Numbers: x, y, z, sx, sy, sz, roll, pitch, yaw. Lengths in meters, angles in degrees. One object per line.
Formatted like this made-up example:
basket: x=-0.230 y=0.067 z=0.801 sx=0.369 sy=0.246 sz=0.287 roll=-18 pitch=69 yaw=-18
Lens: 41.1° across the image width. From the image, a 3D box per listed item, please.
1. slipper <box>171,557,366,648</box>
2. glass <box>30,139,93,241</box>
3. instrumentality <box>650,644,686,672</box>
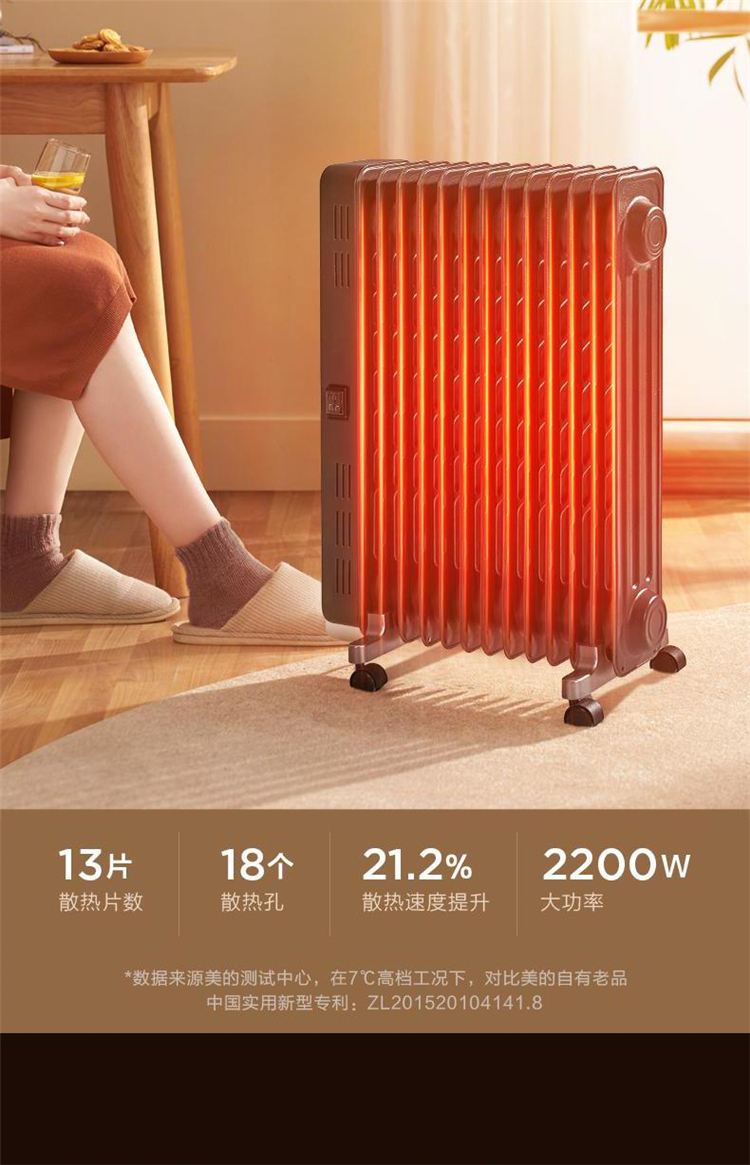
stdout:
slipper: x=-0.154 y=0.021 z=1.337 sx=0.204 sy=0.091 sz=0.112 roll=0 pitch=6 yaw=0
glass: x=-0.378 y=-0.492 z=1.242 sx=0.072 sy=0.077 sz=0.077 roll=14 pitch=26 yaw=-19
instrumentality: x=0.351 y=0.091 z=1.210 sx=0.032 sy=0.035 sz=0.021 roll=-13 pitch=5 yaw=39
